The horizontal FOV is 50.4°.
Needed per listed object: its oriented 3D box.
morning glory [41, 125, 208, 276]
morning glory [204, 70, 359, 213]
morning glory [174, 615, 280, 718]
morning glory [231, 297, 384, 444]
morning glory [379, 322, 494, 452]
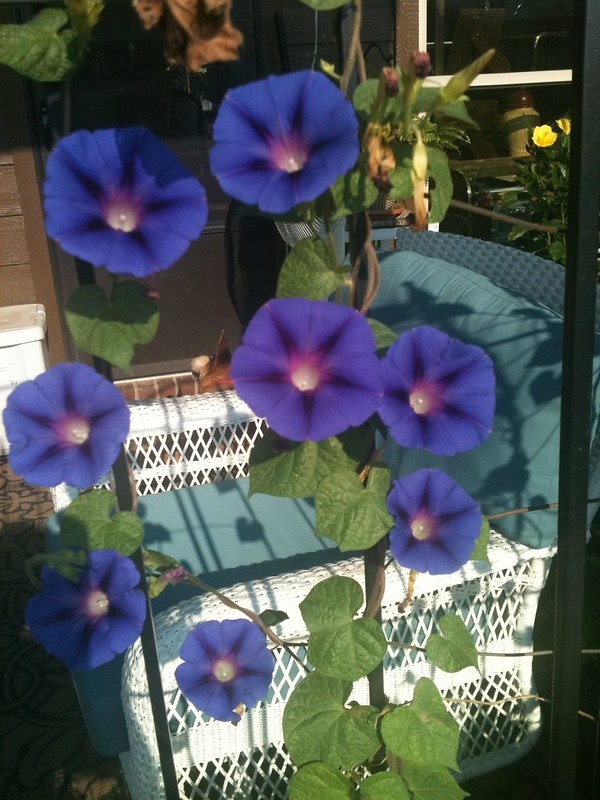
[{"bbox_3d":[-0.123,-0.132,0.440,0.107,0.106,0.043,14,41,-23],"label":"morning glory"},{"bbox_3d":[-0.017,-0.149,0.427,0.115,0.096,0.055,1,-3,8],"label":"morning glory"},{"bbox_3d":[-0.076,0.270,0.657,0.104,0.029,0.107,17,27,32],"label":"morning glory"},{"bbox_3d":[0.013,-0.024,0.475,0.119,0.118,0.041,-7,55,44],"label":"morning glory"},{"bbox_3d":[0.096,-0.016,0.564,0.128,0.104,0.060,-14,9,-21],"label":"morning glory"}]
